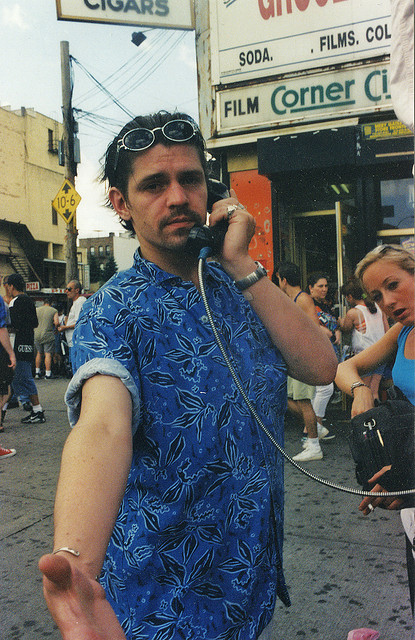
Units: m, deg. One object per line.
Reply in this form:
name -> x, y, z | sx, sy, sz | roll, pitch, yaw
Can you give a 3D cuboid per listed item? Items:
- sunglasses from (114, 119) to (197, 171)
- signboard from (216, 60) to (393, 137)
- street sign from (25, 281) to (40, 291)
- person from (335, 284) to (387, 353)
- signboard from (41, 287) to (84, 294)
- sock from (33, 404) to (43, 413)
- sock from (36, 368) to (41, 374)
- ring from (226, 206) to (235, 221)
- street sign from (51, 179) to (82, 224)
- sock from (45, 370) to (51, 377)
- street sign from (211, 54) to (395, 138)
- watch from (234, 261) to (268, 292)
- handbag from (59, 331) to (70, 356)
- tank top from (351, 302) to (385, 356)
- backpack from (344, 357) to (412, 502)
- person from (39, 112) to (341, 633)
sunglasses -> -0.107, -0.419, 1.550 | 0.172, 0.072, 0.067 | -3, 2, -13
signboard -> 1.148, -2.472, 7.576 | 2.195, 0.595, 0.086 | -5, -3, 32
street sign -> -7.295, -1.358, 28.291 | 0.097, 0.370, 0.736 | 14, -4, -29
person -> 1.452, 0.055, 6.548 | 0.501, 0.847, 0.440 | -5, 3, 16
signboard -> -6.895, -1.272, 30.883 | 0.863, 0.226, 6.329 | -3, 2, -11
sock -> -1.977, 1.040, 7.895 | 0.079, 0.079, 0.079 | -1, 4, 34
sock -> -3.195, 0.970, 12.810 | 0.077, 0.131, 0.080 | -4, 6, -14
ring -> 0.057, -0.269, 1.731 | 0.024, 0.032, 0.011 | 6, -6, -36
street sign -> -2.300, -1.942, 11.148 | 0.556, 0.772, 0.039 | -6, -7, 22
sock -> -2.934, 1.001, 12.519 | 0.069, 0.082, 0.071 | -4, -3, 39
street sign -> 1.125, -2.482, 7.537 | 2.290, 0.728, 0.080 | -2, -4, 32
watch -> 0.106, -0.103, 1.636 | 0.080, 0.056, 0.086 | -39, 8, 12
handbag -> -2.613, 0.429, 12.384 | 0.165, 0.494, 0.339 | -6, 5, -4
tank top -> 1.505, 0.101, 6.384 | 0.308, 0.469, 0.401 | -2, 2, 13
backpack -> 0.482, 0.330, 2.040 | 0.192, 0.297, 0.283 | 17, 41, 17
person -> -0.100, 0.110, 1.415 | 0.386, 0.795, 0.931 | -1, 2, 35
